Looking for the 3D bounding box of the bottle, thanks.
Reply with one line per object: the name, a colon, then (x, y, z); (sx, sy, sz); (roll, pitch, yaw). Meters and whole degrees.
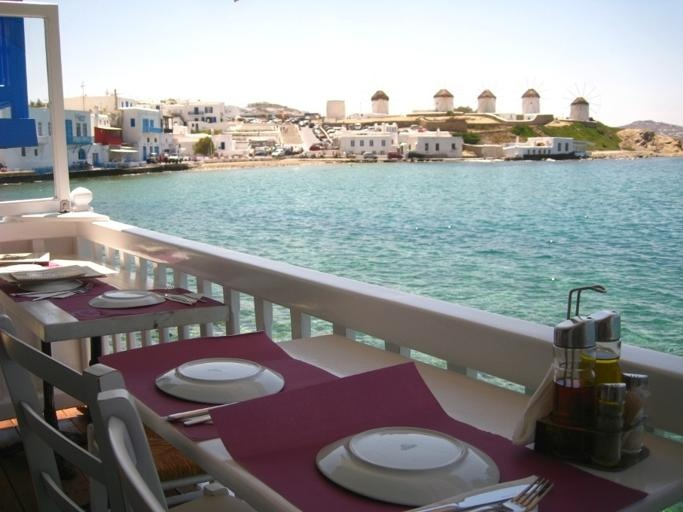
bottle: (0.340, 0.151, 0.664); (0.168, 0.175, 0.100); (-11, 16, -41)
